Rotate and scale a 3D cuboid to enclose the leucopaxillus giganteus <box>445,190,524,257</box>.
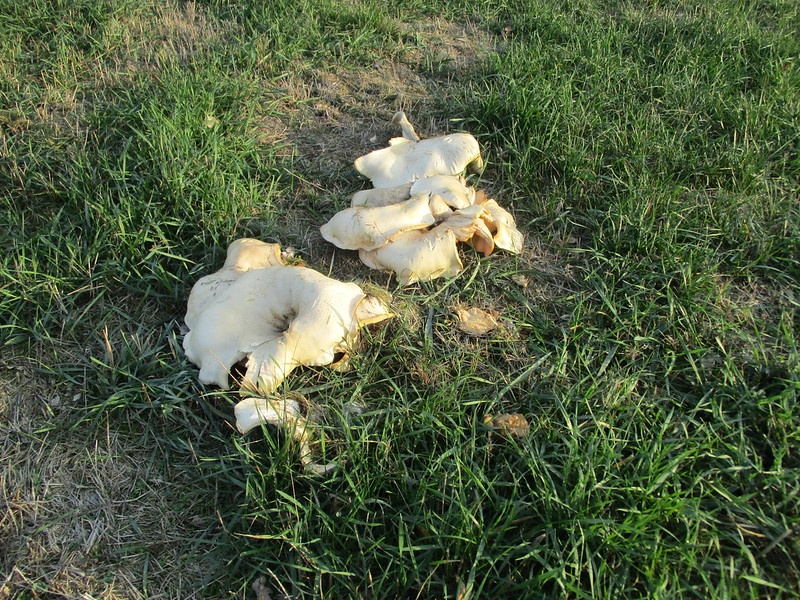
[{"bbox_3d":[0.545,-0.437,4.622,0.449,0.196,0.454,41,64,15],"label":"leucopaxillus giganteus"}]

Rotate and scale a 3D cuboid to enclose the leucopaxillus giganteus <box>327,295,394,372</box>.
[{"bbox_3d":[-0.239,0.176,4.082,0.341,0.115,0.464,16,62,35],"label":"leucopaxillus giganteus"}]

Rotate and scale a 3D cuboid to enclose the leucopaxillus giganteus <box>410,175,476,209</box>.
[{"bbox_3d":[0.325,-0.727,4.621,0.304,0.089,0.276,-12,39,-29],"label":"leucopaxillus giganteus"}]

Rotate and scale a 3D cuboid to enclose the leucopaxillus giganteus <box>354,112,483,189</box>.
[{"bbox_3d":[0.155,-1.033,4.999,0.659,0.322,0.814,35,47,28],"label":"leucopaxillus giganteus"}]
